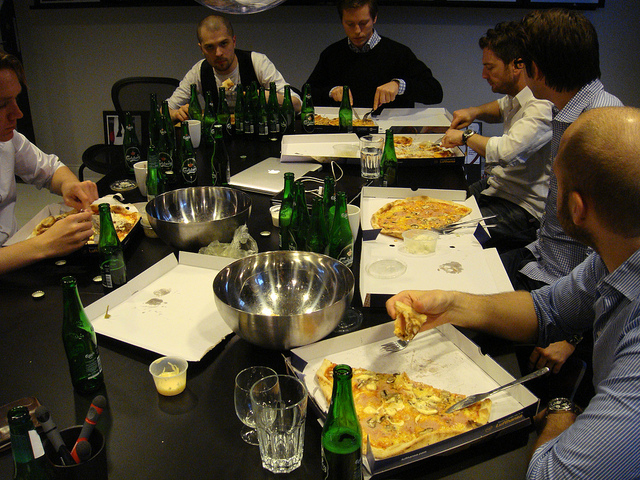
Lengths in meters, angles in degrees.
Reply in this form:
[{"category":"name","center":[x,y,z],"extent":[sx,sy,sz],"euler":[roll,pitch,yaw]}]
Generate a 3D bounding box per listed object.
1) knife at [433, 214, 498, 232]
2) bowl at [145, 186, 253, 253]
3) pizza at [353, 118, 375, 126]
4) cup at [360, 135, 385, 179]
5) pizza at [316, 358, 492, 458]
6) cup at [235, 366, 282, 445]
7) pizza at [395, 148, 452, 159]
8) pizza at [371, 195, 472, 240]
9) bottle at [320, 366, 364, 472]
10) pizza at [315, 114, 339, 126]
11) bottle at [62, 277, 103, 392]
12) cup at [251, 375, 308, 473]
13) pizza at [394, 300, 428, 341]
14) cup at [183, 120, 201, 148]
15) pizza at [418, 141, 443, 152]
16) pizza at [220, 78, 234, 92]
[{"category":"knife","center":[0.628,-0.075,2.071],"extent":[0.282,0.036,0.040],"euler":[-14,-4,-10]},{"category":"bowl","center":[-0.482,-0.088,1.912],"extent":[0.405,0.181,0.383],"euler":[-2,23,1]},{"category":"pizza","center":[0.290,-0.768,3.116],"extent":[0.141,0.027,0.135],"euler":[0,23,7]},{"category":"cup","center":[0.257,-0.415,2.470],"extent":[0.109,0.176,0.113],"euler":[-6,-2,0]},{"category":"pizza","center":[0.264,0.415,1.195],"extent":[0.349,0.061,0.289],"euler":[-4,23,-1]},{"category":"cup","center":[-0.151,0.406,1.142],"extent":[0.093,0.146,0.092],"euler":[-1,26,0]},{"category":"pizza","center":[0.596,-0.493,2.706],"extent":[0.313,0.018,0.193],"euler":[-1,23,5]},{"category":"pizza","center":[0.423,-0.118,2.080],"extent":[0.462,0.061,0.252],"euler":[-15,26,-26]},{"category":"bottle","center":[0.042,0.394,1.018],"extent":[0.084,0.218,0.100],"euler":[-8,23,-12]},{"category":"pizza","center":[0.048,-0.817,3.225],"extent":[0.162,0.034,0.250],"euler":[-3,23,1]},{"category":"bottle","center":[-0.657,0.247,1.270],"extent":[0.082,0.292,0.141],"euler":[-16,26,-29]},{"category":"cup","center":[-0.089,0.426,1.128],"extent":[0.129,0.167,0.157],"euler":[-6,23,-8]},{"category":"pizza","center":[0.254,0.237,1.346],"extent":[0.092,0.034,0.096],"euler":[24,68,14]},{"category":"cup","center":[-0.759,-0.642,2.865],"extent":[0.073,0.165,0.067],"euler":[-2,22,1]},{"category":"pizza","center":[0.653,-0.558,2.834],"extent":[0.087,0.022,0.077],"euler":[16,35,32]},{"category":"pizza","center":[-0.691,-1.130,3.517],"extent":[0.093,0.026,0.091],"euler":[-38,-11,36]}]
